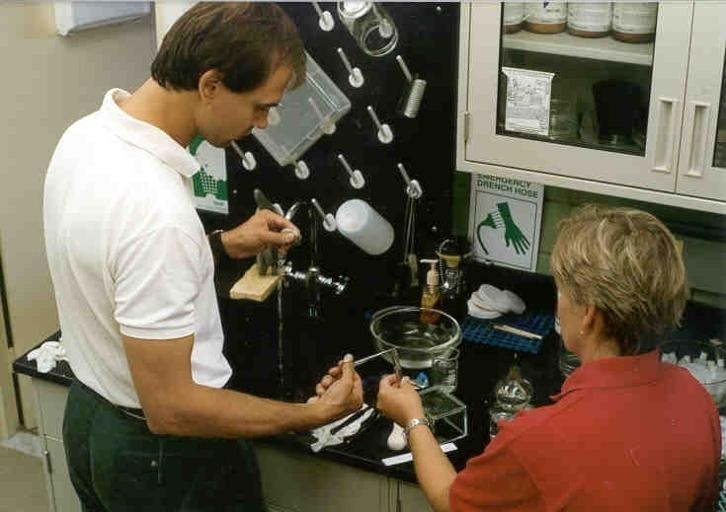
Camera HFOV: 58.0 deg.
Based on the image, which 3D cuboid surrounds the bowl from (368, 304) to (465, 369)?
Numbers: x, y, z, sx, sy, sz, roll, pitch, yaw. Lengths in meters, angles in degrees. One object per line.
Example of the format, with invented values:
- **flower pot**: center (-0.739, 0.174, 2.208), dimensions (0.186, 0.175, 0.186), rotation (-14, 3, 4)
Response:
- **bowl**: center (0.161, 0.247, 1.970), dimensions (0.264, 0.102, 0.276), rotation (-1, 25, 0)

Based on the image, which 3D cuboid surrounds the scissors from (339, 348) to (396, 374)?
- **scissors**: center (0.040, 0.284, 1.828), dimensions (0.104, 0.062, 0.077), rotation (1, 3, 8)

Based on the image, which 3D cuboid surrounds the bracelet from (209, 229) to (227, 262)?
- **bracelet**: center (-0.405, -0.019, 1.877), dimensions (0.055, 0.068, 0.076), rotation (-3, 6, 6)
